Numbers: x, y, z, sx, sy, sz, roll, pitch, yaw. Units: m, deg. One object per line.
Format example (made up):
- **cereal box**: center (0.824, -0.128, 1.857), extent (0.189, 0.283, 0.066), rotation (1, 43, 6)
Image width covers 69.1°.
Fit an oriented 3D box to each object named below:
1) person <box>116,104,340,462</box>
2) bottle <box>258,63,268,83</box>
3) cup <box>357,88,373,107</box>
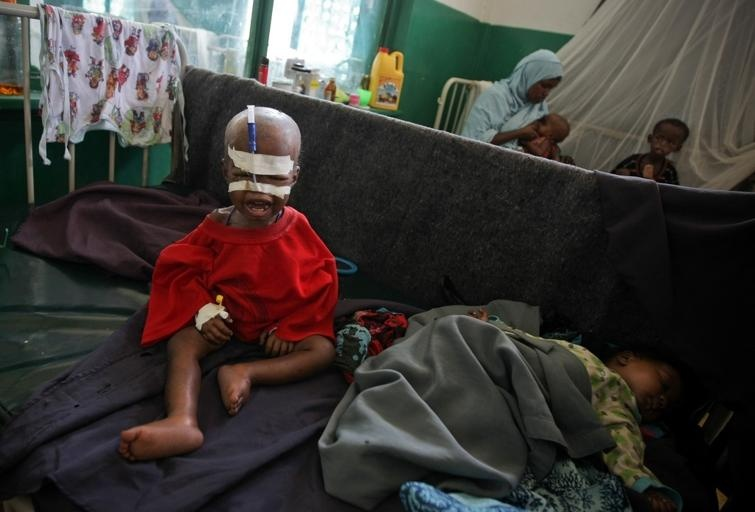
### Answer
- **person**: center (-0.394, 0.042, 1.682), extent (0.619, 0.916, 0.567), rotation (3, 20, -21)
- **bottle**: center (-0.674, -1.063, 3.204), extent (0.046, 0.108, 0.142), rotation (5, 20, -16)
- **cup**: center (-0.095, -1.087, 3.783), extent (0.113, 0.111, 0.111), rotation (10, 19, -3)
